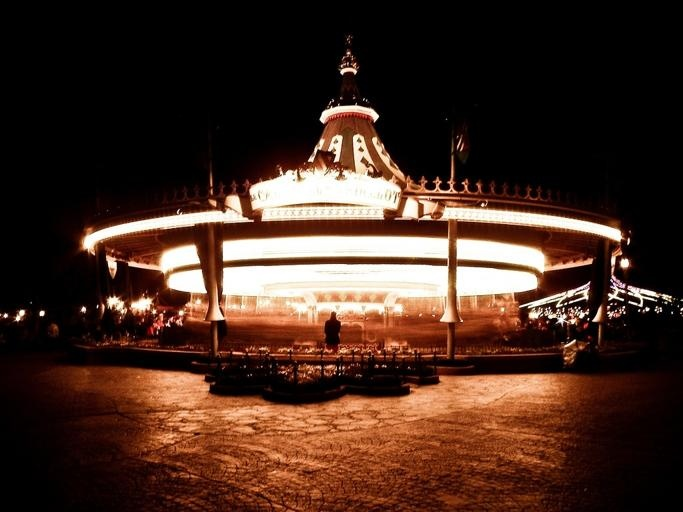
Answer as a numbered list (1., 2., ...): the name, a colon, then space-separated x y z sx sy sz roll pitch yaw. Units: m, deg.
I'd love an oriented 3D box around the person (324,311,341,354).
1. person: -0.274 2.442 21.006 0.439 1.258 1.163 0 -5 -2
